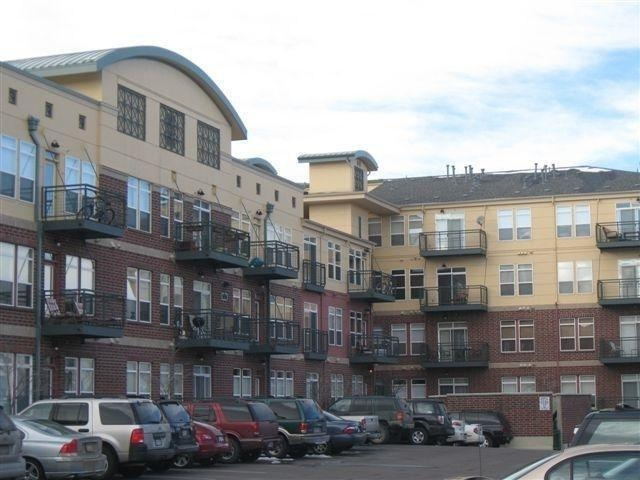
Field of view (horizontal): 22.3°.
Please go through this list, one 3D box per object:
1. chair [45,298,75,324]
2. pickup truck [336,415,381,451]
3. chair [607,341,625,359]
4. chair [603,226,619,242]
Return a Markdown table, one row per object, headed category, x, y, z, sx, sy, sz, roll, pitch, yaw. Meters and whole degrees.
| category | x | y | z | sx | sy | sz | roll | pitch | yaw |
| --- | --- | --- | --- | --- | --- | --- | --- | --- | --- |
| chair | -10.373 | 2.762 | 64.533 | 1.124 | 0.789 | 0.835 | -2 | -3 | 28 |
| pickup truck | 1.700 | 8.028 | 68.732 | 1.699 | 0.906 | 1.041 | 1 | -4 | 14 |
| chair | 16.169 | 5.983 | 88.143 | 0.722 | 1.128 | 1.148 | -3 | -5 | 21 |
| chair | 16.139 | -0.255 | 89.515 | 0.816 | 1.004 | 0.775 | -2 | -1 | 10 |
